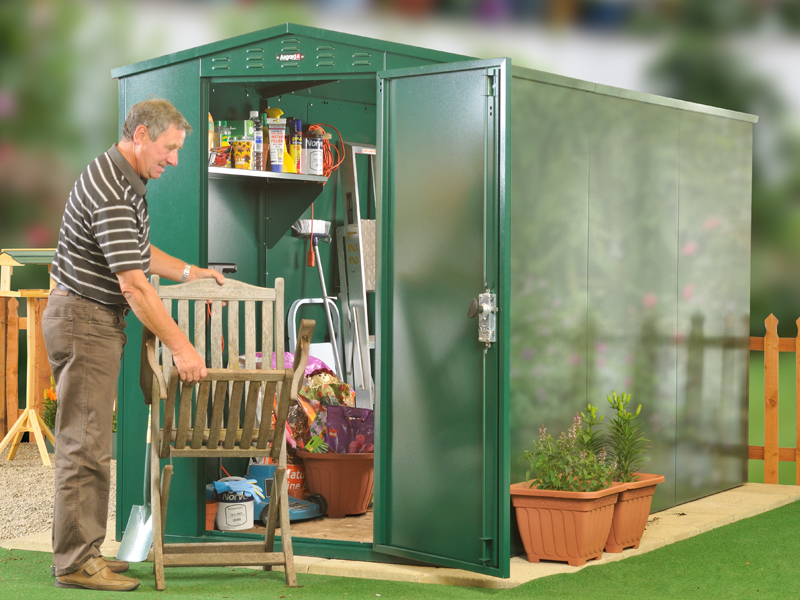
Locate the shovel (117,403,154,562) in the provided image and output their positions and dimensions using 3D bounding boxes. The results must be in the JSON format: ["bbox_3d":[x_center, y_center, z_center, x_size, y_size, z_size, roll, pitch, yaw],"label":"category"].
[{"bbox_3d":[-1.654,1.200,6.788,0.273,1.070,0.280,0,4,-32],"label":"shovel"}]
